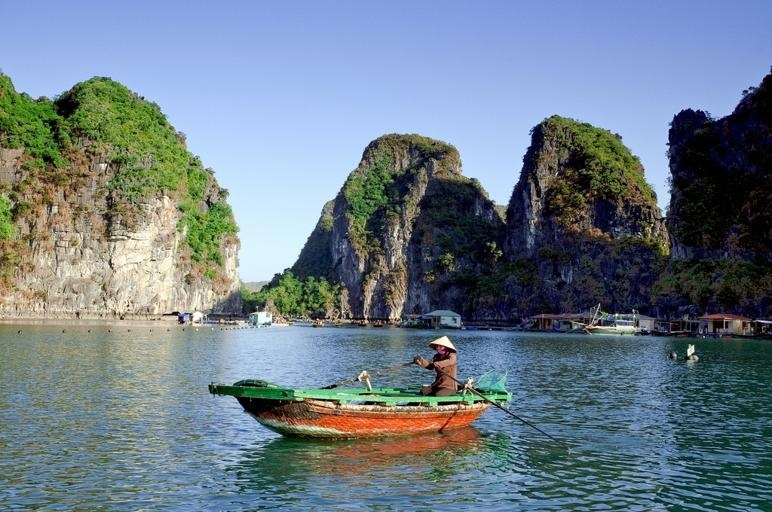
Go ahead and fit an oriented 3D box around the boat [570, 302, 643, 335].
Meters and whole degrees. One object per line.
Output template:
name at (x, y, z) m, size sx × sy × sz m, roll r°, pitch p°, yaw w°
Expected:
boat at (37.340, 10.733, 122.451) m, size 16.328 × 5.892 × 3.997 m, roll 6°, pitch -10°, yaw -26°
